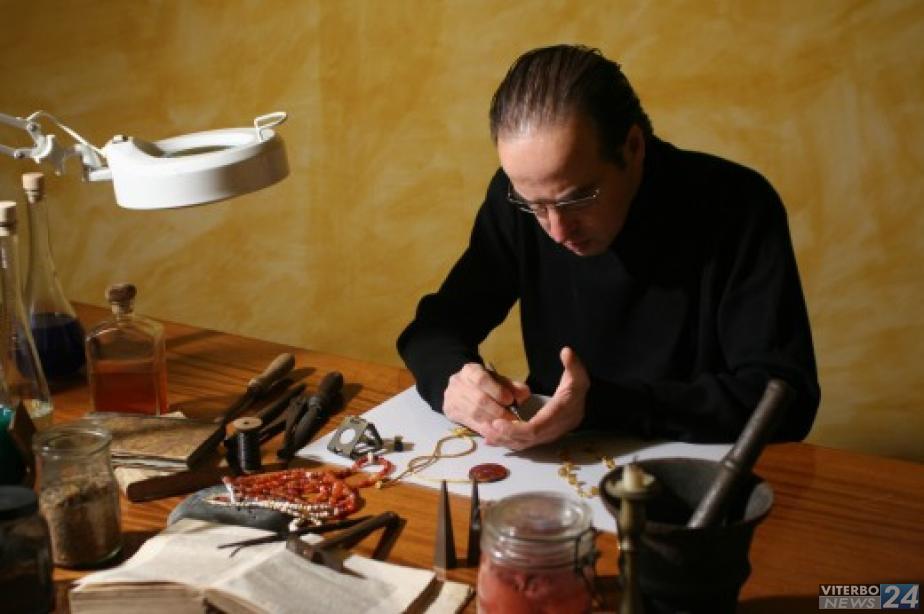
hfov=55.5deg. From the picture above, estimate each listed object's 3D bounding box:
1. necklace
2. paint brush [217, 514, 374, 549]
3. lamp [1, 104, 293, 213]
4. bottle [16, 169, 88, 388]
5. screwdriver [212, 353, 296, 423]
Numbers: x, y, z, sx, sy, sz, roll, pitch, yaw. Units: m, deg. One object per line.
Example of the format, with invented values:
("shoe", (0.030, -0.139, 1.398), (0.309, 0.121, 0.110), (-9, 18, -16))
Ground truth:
("necklace", (-0.396, 0.475, 2.192), (0.295, 0.069, 0.402), (-6, 13, -34))
("paint brush", (-0.398, 0.527, 2.048), (0.476, 0.035, 0.033), (-4, -13, -24))
("lamp", (-0.825, -0.389, 2.335), (0.660, 0.264, 0.360), (7, 8, 30))
("bottle", (-1.303, -0.082, 2.732), (0.254, 0.630, 0.246), (2, 12, 0))
("screwdriver", (-0.611, 0.246, 2.637), (0.182, 0.171, 0.278), (13, 18, 26))
